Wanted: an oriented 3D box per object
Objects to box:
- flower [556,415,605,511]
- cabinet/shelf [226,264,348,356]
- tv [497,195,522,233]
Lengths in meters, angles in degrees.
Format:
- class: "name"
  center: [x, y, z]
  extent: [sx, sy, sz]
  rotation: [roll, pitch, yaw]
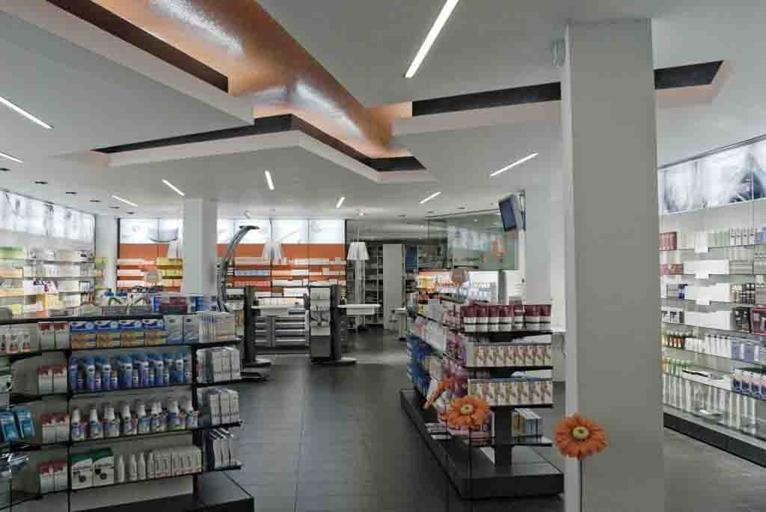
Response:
- class: "flower"
  center: [1.694, 1.788, 4.651]
  extent: [0.381, 0.902, 0.490]
  rotation: [-1, -3, 21]
- class: "cabinet/shelf"
  center: [-2.490, 1.394, 13.566]
  extent: [2.294, 1.761, 0.797]
  rotation: [-1, -6, -7]
- class: "tv"
  center: [2.691, -0.908, 11.450]
  extent: [0.252, 0.642, 0.707]
  rotation: [-8, -4, -3]
